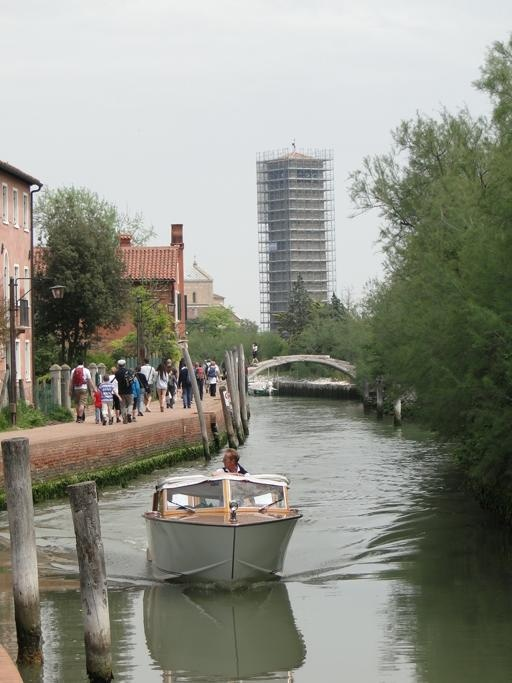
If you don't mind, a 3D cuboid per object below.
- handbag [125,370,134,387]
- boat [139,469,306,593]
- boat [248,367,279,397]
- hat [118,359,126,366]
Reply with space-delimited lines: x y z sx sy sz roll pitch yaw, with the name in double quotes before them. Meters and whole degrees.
"handbag" -3.692 1.124 34.474 0.134 0.404 0.277 4 5 11
"boat" -0.517 2.864 17.699 2.245 1.665 1.709 -1 0 1
"boat" 0.661 3.995 112.807 1.842 1.454 6.033 5 7 2
"hat" -3.863 0.619 33.882 0.274 0.128 0.421 1 0 -3
